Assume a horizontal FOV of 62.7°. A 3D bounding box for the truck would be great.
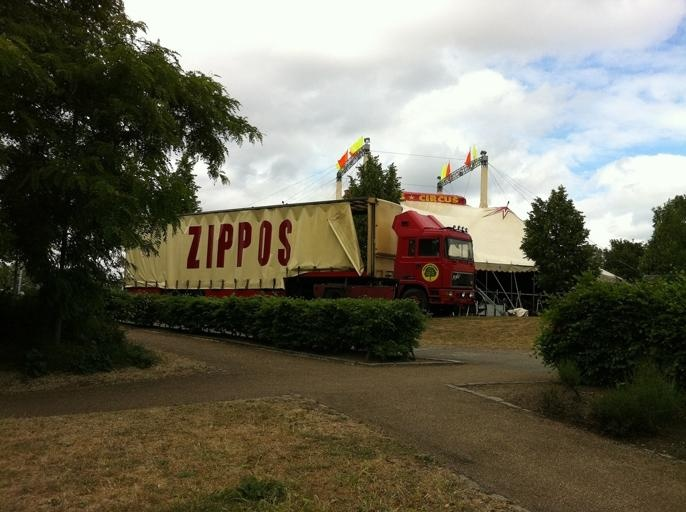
[{"bbox_3d":[-2.489,-0.152,27.393,15.549,5.922,5.433,-2,12,20],"label":"truck"}]
